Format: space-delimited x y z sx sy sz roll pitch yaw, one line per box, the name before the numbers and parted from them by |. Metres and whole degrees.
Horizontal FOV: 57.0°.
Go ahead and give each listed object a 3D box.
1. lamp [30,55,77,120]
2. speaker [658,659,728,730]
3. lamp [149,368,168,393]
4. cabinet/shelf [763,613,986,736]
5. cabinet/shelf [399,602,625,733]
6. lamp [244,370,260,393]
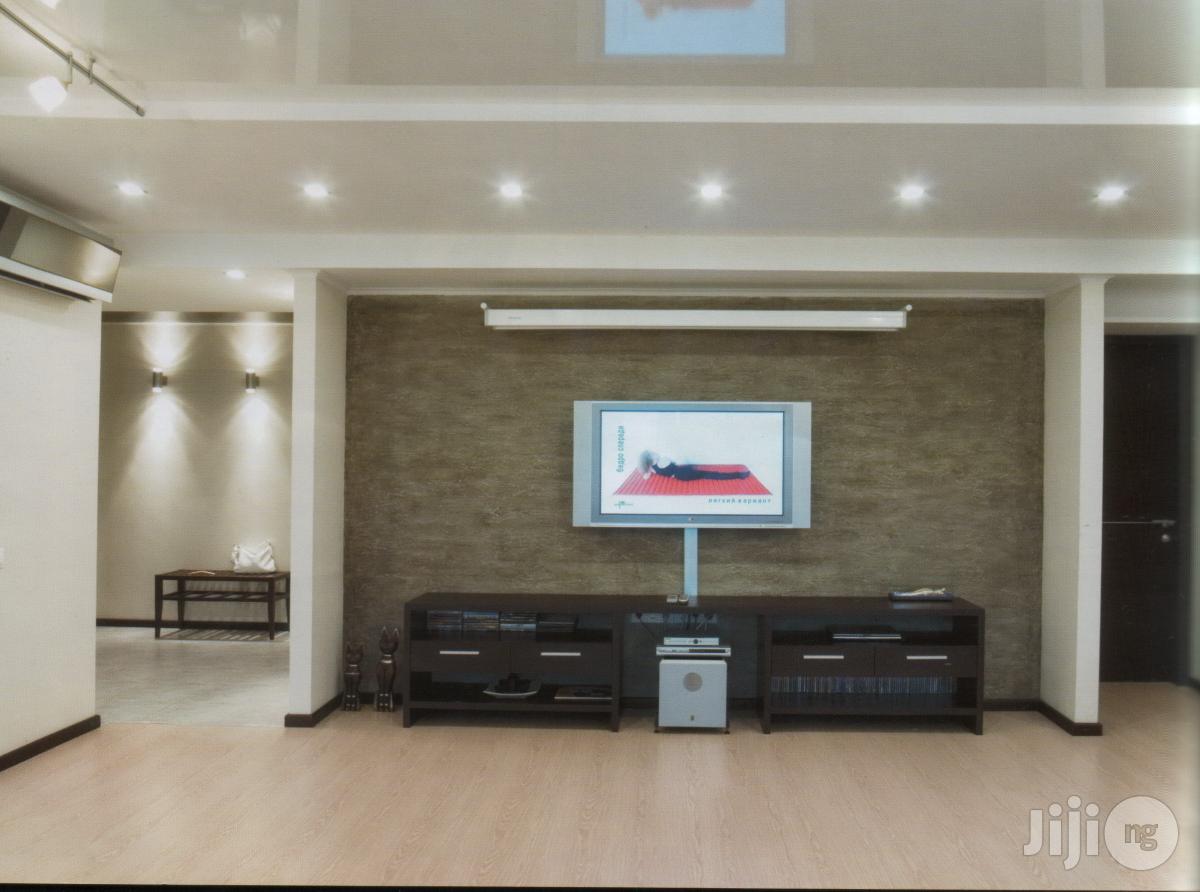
lamp | -2.457 -1.596 4.950 0.177 0.164 0.488 -5 12 -26
speaker | 0.556 1.486 6.766 0.448 0.409 0.258 0 -6 -3
lamp | -3.564 -0.547 8.936 0.145 0.209 0.146 2 0 -13
cabinet/shelf | 1.651 1.342 6.875 1.295 0.733 0.497 0 -3 5
cabinet/shelf | -0.543 1.344 6.918 1.273 0.776 0.500 1 -1 0
lamp | -2.801 -0.521 8.901 0.125 0.179 0.235 0 -3 -11
